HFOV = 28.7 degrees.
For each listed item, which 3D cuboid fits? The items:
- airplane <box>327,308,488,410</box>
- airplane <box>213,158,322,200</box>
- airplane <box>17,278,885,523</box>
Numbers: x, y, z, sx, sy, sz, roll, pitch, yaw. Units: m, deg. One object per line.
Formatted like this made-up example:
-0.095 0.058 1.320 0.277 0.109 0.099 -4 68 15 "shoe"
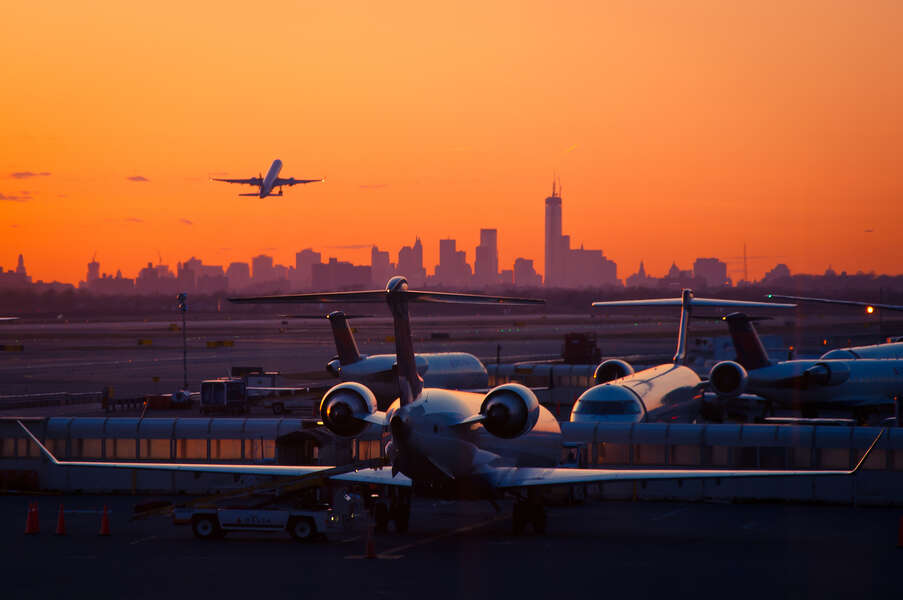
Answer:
-3.372 4.471 135.860 5.557 5.332 15.576 4 -4 -39 "airplane"
-16.790 -10.689 161.182 10.605 3.297 9.470 0 -11 -14 "airplane"
1.726 6.253 83.321 20.871 5.429 18.327 -1 0 14 "airplane"
